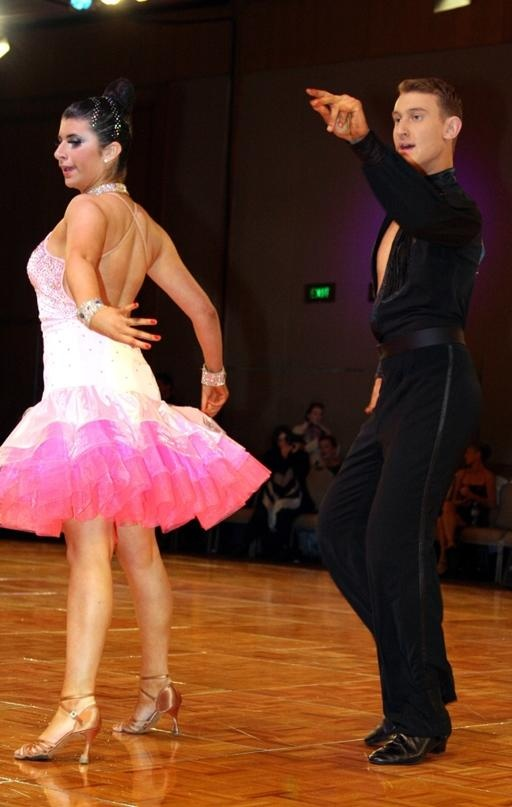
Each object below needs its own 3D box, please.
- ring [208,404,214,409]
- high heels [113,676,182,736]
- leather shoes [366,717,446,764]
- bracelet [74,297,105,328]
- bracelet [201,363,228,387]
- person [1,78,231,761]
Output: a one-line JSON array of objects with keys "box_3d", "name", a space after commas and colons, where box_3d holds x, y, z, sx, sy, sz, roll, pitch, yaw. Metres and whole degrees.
[{"box_3d": [-0.134, 0.008, 2.256, 0.013, 0.011, 0.012, 0, -10, 0], "name": "ring"}, {"box_3d": [-0.258, 0.712, 1.796, 0.194, 0.132, 0.072, -14, -23, 23], "name": "high heels"}, {"box_3d": [0.300, 0.712, 1.616, 0.232, 0.091, 0.079, 10, -20, -27], "name": "leather shoes"}, {"box_3d": [-0.300, -0.167, 1.363, 0.024, 0.050, 0.044, 35, -13, -29], "name": "bracelet"}, {"box_3d": [-0.124, -0.092, 2.259, 0.055, 0.041, 0.070, 3, 1, -18], "name": "bracelet"}, {"box_3d": [-0.307, 0.054, 1.767, 0.458, 1.691, 0.886, 2, 7, -2], "name": "person"}]
